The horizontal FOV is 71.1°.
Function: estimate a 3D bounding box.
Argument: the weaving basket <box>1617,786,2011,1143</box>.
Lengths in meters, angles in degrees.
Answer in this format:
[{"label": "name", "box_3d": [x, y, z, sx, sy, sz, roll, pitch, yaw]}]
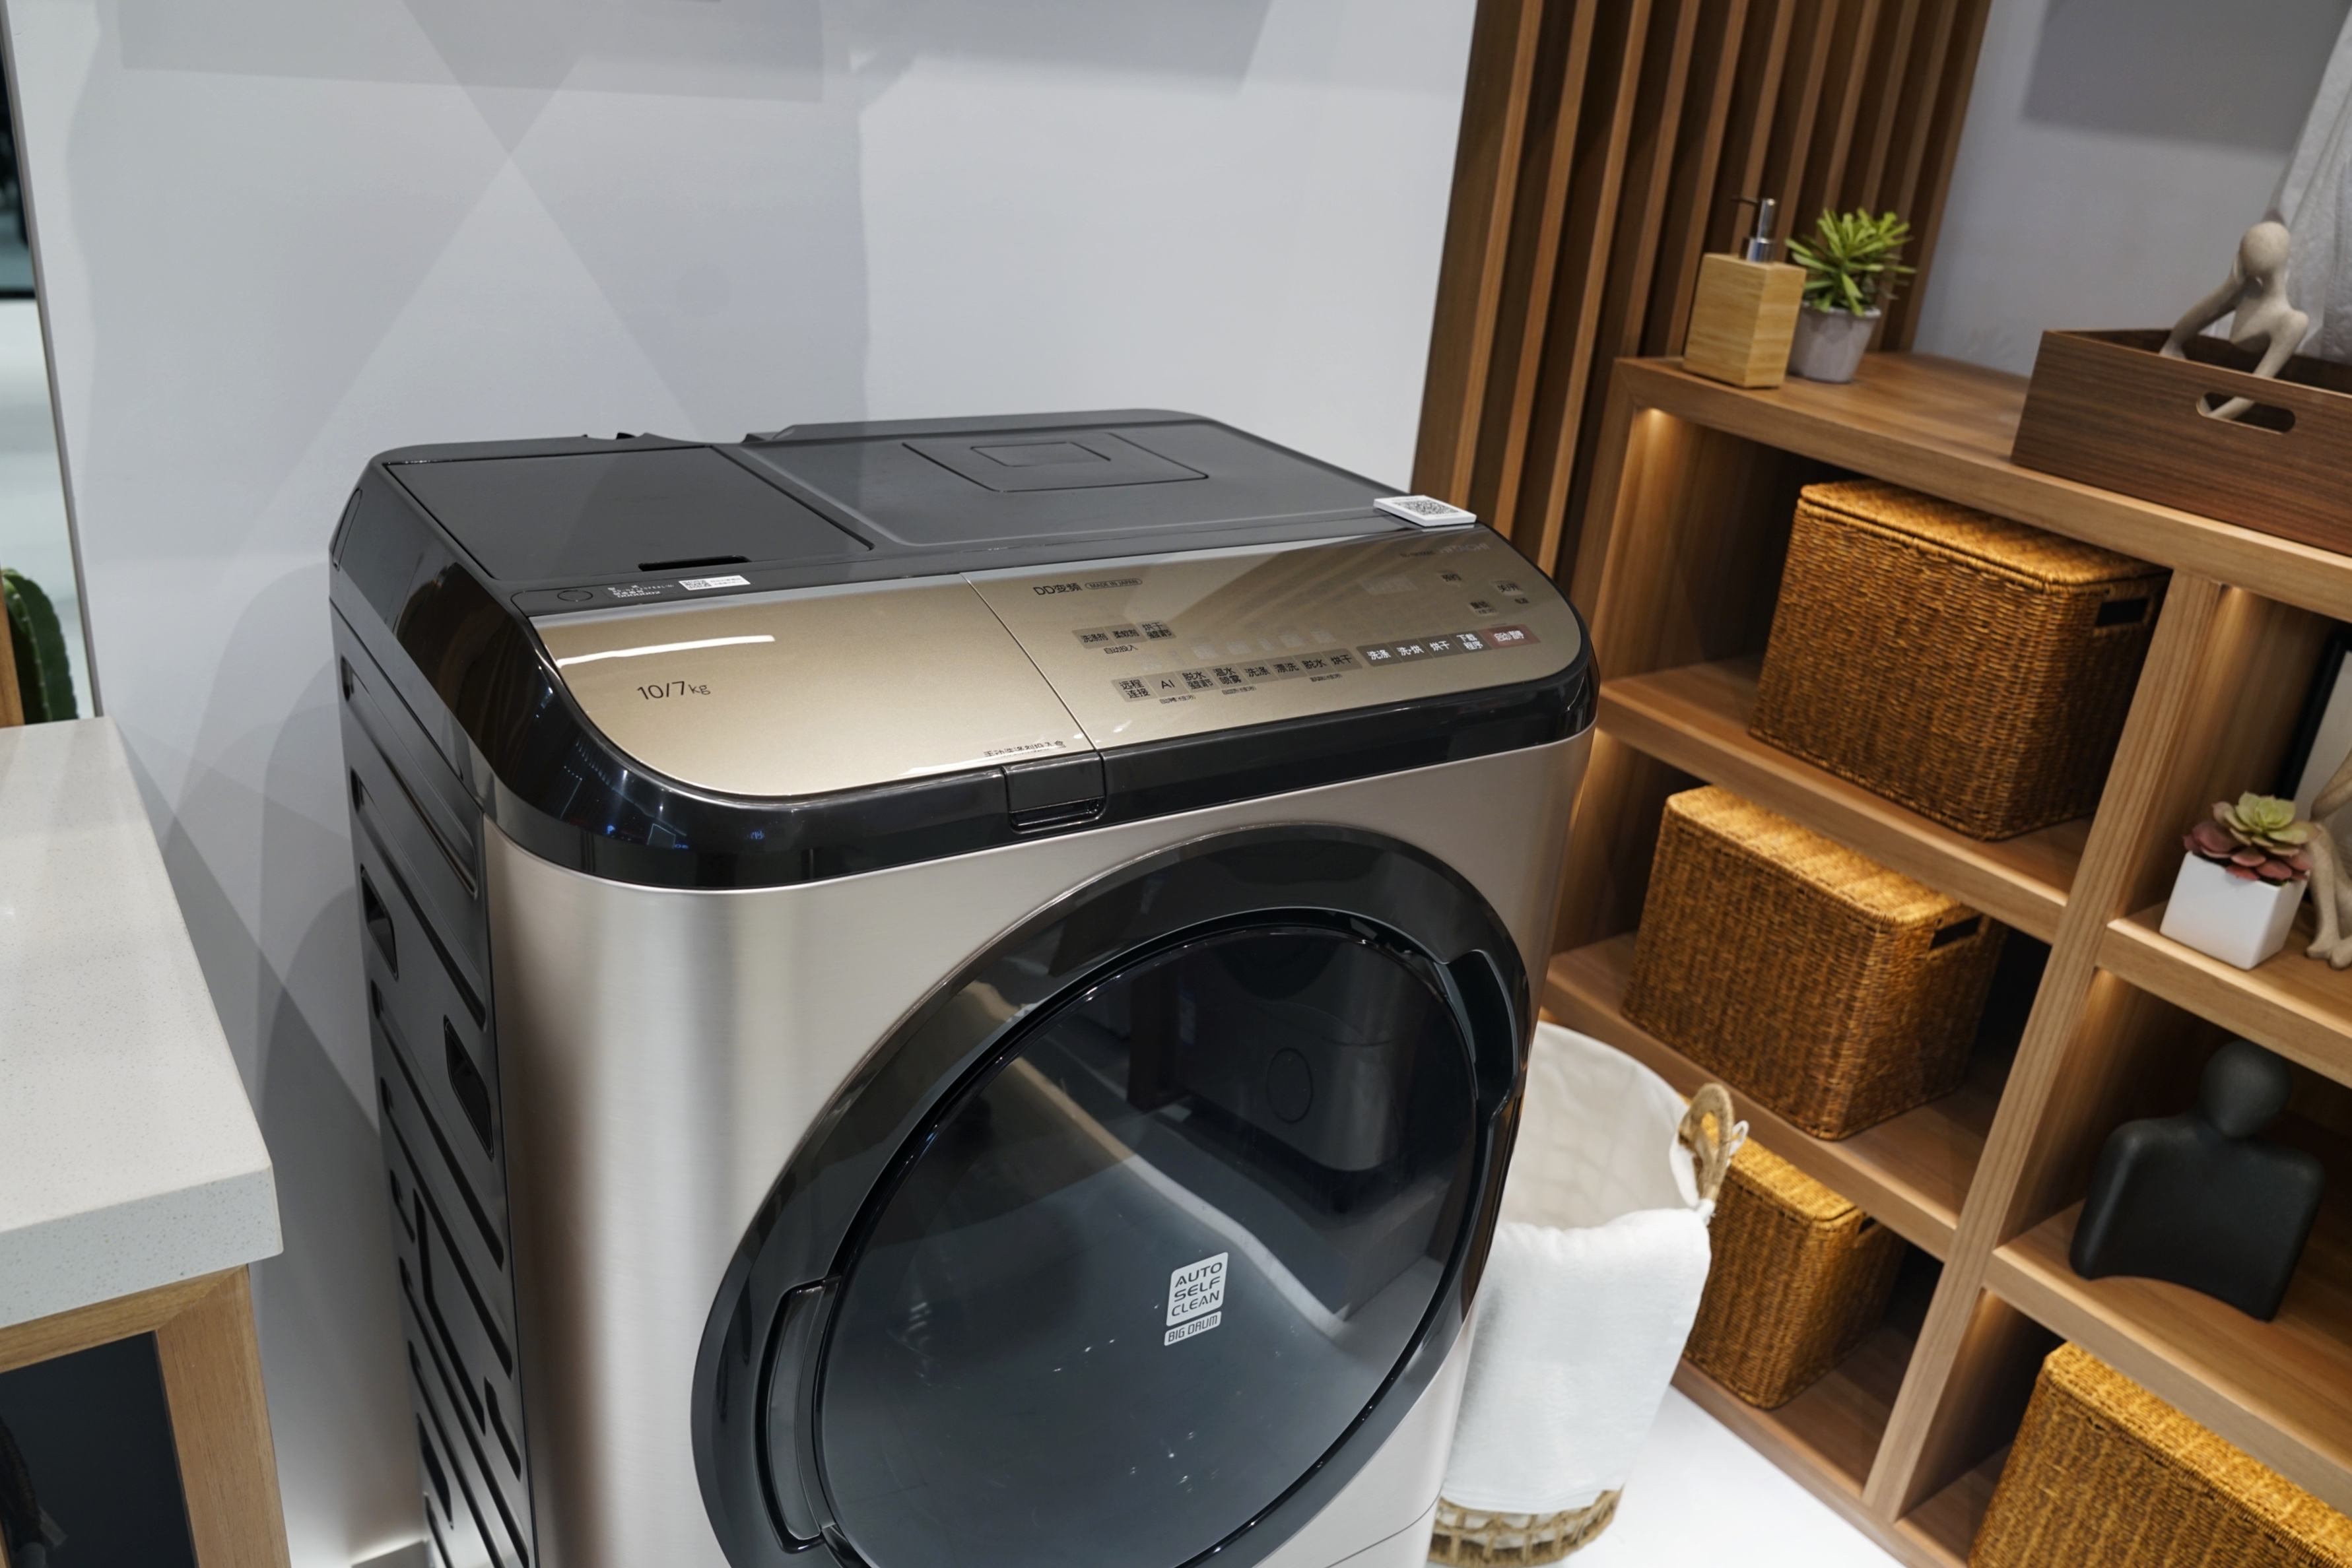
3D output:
[{"label": "weaving basket", "box_3d": [0.899, 0.222, 2.337, 0.308, 0.381, 0.390, -15, 31, -27]}]

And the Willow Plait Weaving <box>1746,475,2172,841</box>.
[{"label": "Willow Plait Weaving", "box_3d": [1.024, -0.173, 2.177, 0.303, 0.346, 0.391, -10, 27, -33]}]

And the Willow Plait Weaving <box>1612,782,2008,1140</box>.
[{"label": "Willow Plait Weaving", "box_3d": [0.885, 0.237, 2.353, 0.311, 0.346, 0.402, -6, 26, -36]}]

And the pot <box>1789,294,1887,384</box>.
[{"label": "pot", "box_3d": [0.877, -0.594, 2.208, 0.106, 0.083, 0.108, 4, 31, -2]}]

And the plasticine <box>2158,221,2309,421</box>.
[{"label": "plasticine", "box_3d": [1.218, -0.543, 1.881, 0.150, 0.204, 0.131, 19, 55, 25]}]
